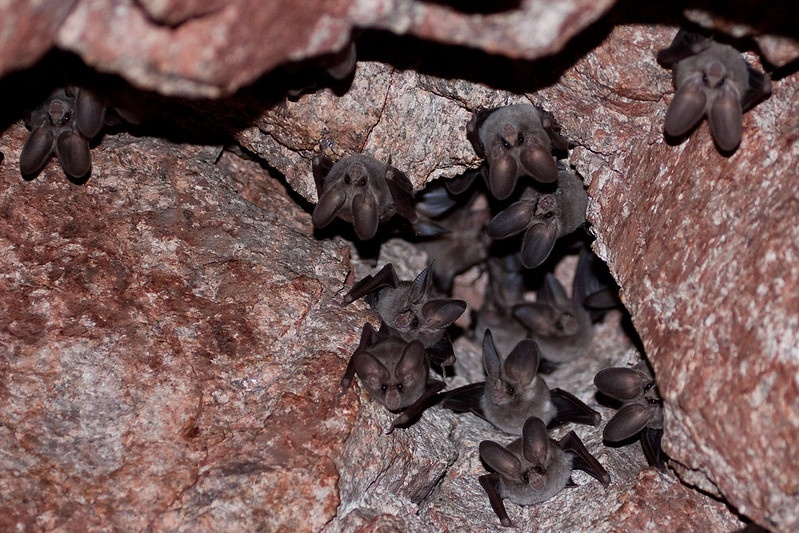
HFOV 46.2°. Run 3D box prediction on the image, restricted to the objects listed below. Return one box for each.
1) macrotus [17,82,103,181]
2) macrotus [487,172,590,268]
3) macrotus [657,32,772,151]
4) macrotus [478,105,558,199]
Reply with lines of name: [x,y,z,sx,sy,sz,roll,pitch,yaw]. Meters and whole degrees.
macrotus: [-3.056,-1.263,8.528,0.710,0.516,0.842,4,58,-7]
macrotus: [1.401,-0.499,9.728,0.868,1.581,0.981,2,91,1]
macrotus: [2.550,-1.378,8.001,0.974,0.757,0.863,29,58,9]
macrotus: [1.113,-1.149,8.737,0.862,0.529,1.075,-8,75,35]
